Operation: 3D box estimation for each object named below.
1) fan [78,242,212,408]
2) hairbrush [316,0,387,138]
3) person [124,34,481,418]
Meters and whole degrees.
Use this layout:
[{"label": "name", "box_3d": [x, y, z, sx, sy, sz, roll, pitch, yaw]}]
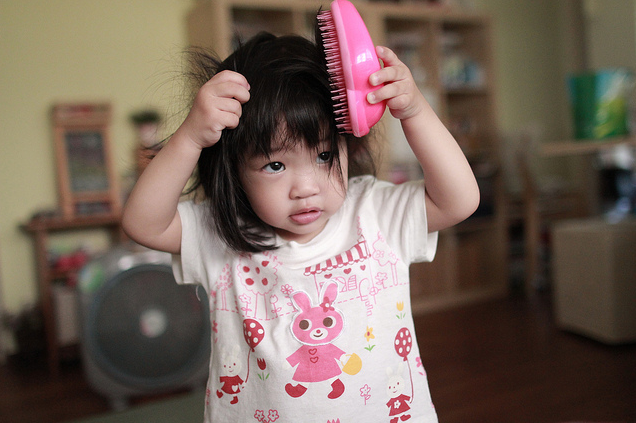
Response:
[{"label": "fan", "box_3d": [-0.460, 0.278, 1.607, 0.338, 0.494, 0.291, -1, 16, -7]}, {"label": "hairbrush", "box_3d": [0.067, -0.275, 1.117, 0.109, 0.275, 0.181, -7, 12, 3]}, {"label": "person", "box_3d": [-0.022, 0.050, 1.175, 0.690, 0.810, 0.254, -5, 12, 12]}]
